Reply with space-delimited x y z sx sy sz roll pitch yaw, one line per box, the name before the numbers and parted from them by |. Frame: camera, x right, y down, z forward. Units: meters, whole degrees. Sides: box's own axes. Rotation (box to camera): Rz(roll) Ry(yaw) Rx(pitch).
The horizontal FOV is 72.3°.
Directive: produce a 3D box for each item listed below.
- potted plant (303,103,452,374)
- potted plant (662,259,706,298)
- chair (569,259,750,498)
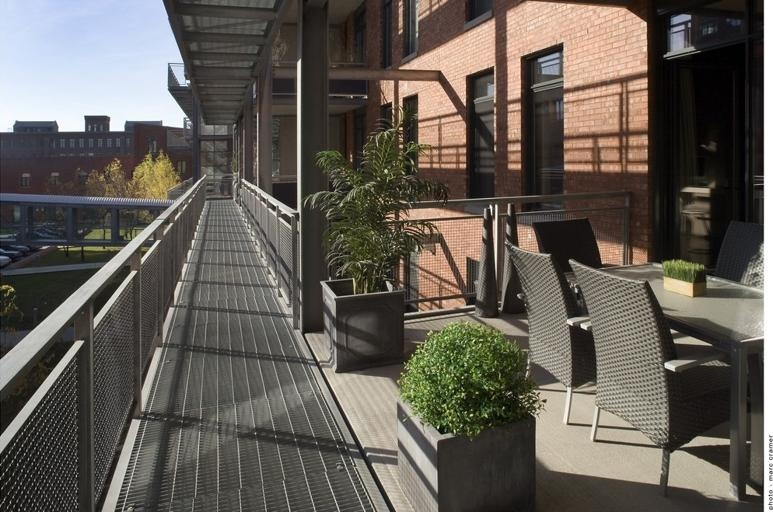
potted plant | -0.143 -0.108 4.873 1.181 2.093 1.077 6 -9 -43
potted plant | 2.084 0.146 3.717 0.186 0.276 0.351 0 3 -15
chair | 1.614 0.609 3.716 1.104 1.689 1.098 -5 8 -23
